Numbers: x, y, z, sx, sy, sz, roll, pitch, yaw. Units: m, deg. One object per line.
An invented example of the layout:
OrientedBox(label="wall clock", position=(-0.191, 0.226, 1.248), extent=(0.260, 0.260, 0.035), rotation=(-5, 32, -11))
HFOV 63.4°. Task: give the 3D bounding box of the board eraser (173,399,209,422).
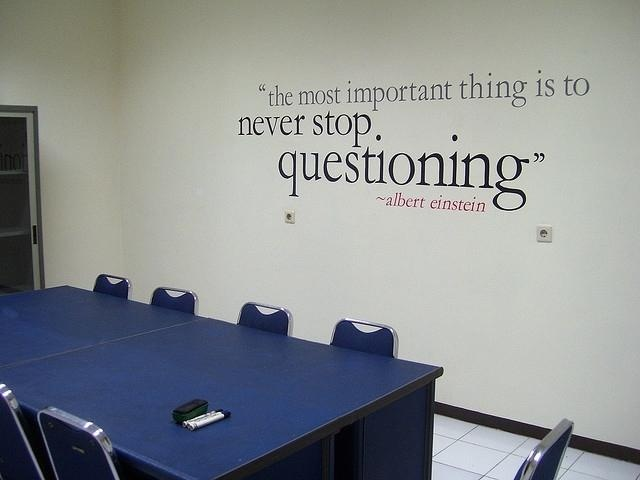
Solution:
OrientedBox(label="board eraser", position=(-0.537, 0.694, 2.156), extent=(0.062, 0.044, 0.106), rotation=(4, 7, 35))
